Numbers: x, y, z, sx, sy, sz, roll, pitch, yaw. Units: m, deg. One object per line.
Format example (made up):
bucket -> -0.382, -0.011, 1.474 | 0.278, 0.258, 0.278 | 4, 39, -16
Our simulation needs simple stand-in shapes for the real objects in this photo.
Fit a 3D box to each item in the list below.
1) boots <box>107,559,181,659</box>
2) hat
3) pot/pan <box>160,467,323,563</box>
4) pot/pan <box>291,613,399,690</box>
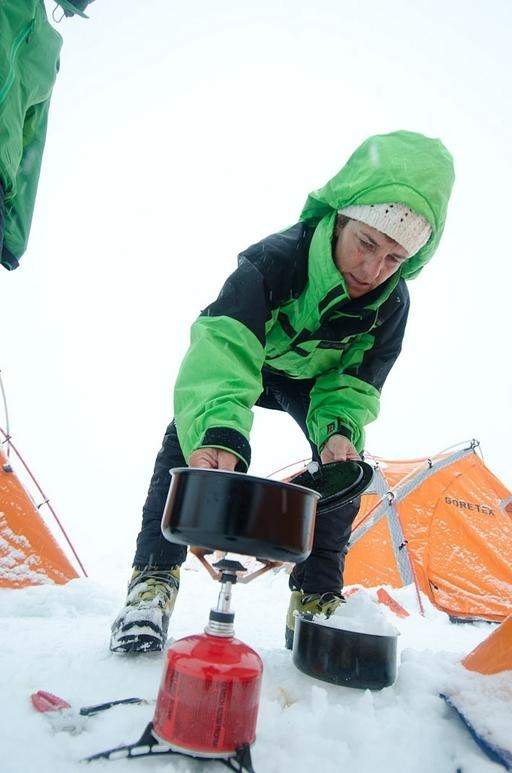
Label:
boots -> -0.315, 0.647, 1.988 | 0.157, 0.287, 0.293 | 18, -24, -5
hat -> 0.385, -0.499, 2.079 | 0.290, 0.136, 0.149 | 12, -24, 6
pot/pan -> -0.031, 0.251, 1.281 | 0.230, 0.098, 0.203 | 16, -31, -6
pot/pan -> 0.229, 0.746, 1.885 | 0.315, 0.137, 0.313 | 13, -19, -20
